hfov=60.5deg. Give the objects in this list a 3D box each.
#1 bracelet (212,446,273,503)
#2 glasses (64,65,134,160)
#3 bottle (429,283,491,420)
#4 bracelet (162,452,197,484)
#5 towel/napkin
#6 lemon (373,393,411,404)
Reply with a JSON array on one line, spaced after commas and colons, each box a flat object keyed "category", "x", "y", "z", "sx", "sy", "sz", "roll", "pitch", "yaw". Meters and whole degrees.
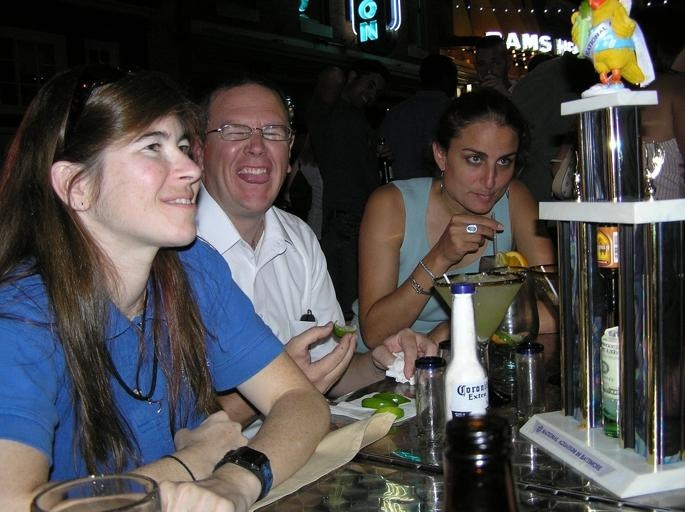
[{"category": "bracelet", "x": -0.210, "y": 0.456, "z": 1.276, "sx": 0.103, "sy": 0.103, "sz": 0.086, "roll": 17, "pitch": 26, "yaw": 25}, {"category": "glasses", "x": -0.587, "y": -0.364, "z": 1.389, "sx": 0.161, "sy": 0.209, "sz": 0.045, "roll": -5, "pitch": 4, "yaw": -27}, {"category": "bottle", "x": 0.228, "y": 0.185, "z": 1.077, "sx": 0.082, "sy": 0.277, "sz": 0.173, "roll": -2, "pitch": 4, "yaw": 10}, {"category": "bracelet", "x": -0.357, "y": 0.464, "z": 1.282, "sx": 0.014, "sy": 0.057, "sz": 0.055, "roll": -31, "pitch": -21, "yaw": -36}, {"category": "towel/napkin", "x": -0.036, "y": 0.406, "z": 1.295, "sx": 0.179, "sy": 0.195, "sz": 0.192, "roll": -30, "pitch": 19, "yaw": 3}, {"category": "lemon", "x": 0.135, "y": 0.373, "z": 1.575, "sx": 0.097, "sy": 0.030, "sz": 0.032, "roll": 10, "pitch": -1, "yaw": 30}]
